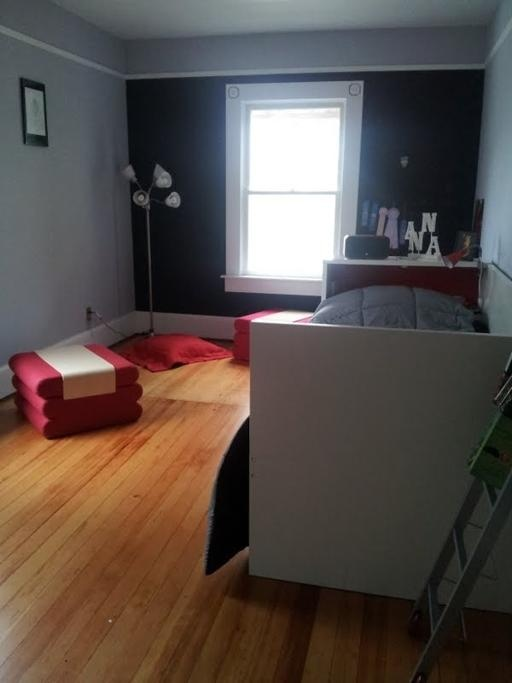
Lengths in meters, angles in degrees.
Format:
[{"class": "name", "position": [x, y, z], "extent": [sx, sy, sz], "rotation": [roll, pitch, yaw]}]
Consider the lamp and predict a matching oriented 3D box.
[{"class": "lamp", "position": [-0.906, -0.814, 4.495], "extent": [0.491, 1.558, 0.566], "rotation": [-2, 8, -12]}]

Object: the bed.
[{"class": "bed", "position": [0.334, 0.255, 1.549], "extent": [0.502, 0.645, 0.852], "rotation": [4, 14, 14]}]

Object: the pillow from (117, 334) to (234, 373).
[{"class": "pillow", "position": [-0.668, 0.077, 4.190], "extent": [0.859, 0.179, 0.582], "rotation": [-6, 11, -34]}]

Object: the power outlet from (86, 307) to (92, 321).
[{"class": "power outlet", "position": [-1.361, -0.221, 4.092], "extent": [0.022, 0.114, 0.075], "rotation": [2, 8, 12]}]
